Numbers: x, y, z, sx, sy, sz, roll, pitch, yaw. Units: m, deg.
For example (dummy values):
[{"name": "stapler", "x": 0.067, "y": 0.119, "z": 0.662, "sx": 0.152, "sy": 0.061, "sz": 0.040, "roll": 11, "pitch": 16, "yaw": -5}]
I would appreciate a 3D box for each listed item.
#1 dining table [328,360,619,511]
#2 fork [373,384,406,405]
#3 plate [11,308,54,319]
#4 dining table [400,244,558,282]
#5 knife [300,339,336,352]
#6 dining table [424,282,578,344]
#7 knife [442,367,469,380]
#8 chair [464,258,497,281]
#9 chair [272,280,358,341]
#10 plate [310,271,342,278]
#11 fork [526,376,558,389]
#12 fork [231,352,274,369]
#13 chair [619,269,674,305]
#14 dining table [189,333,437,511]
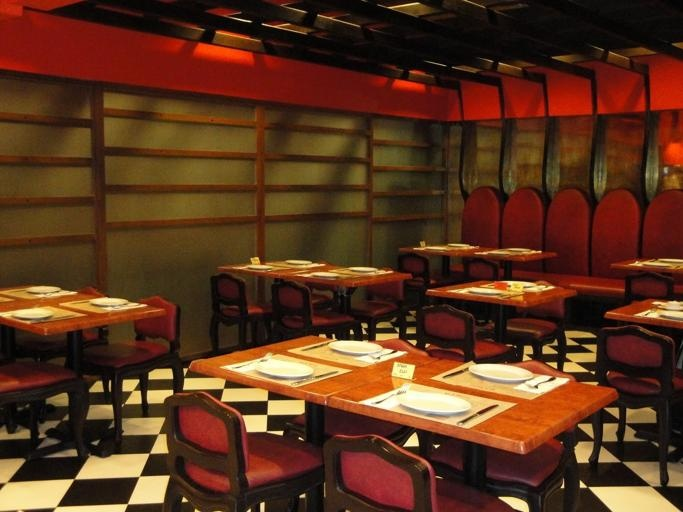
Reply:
[{"name": "dining table", "x": 0.506, "y": 0.627, "z": 2.352, "sx": 1.052, "sy": 0.485, "sz": 0.922, "roll": 4, "pitch": 8, "yaw": 38}, {"name": "fork", "x": 0.231, "y": 0.589, "z": 2.360, "sx": 0.044, "sy": 0.027, "sz": 0.302, "roll": 16, "pitch": 15, "yaw": 37}, {"name": "plate", "x": -2.092, "y": 0.384, "z": 3.627, "sx": 0.209, "sy": 0.039, "sz": 0.325, "roll": -5, "pitch": 9, "yaw": -36}, {"name": "dining table", "x": 1.793, "y": 0.090, "z": 7.245, "sx": 1.781, "sy": 0.313, "sz": 0.769, "roll": 4, "pitch": 10, "yaw": 38}, {"name": "knife", "x": -0.112, "y": 0.520, "z": 3.153, "sx": 0.047, "sy": 0.019, "sz": 0.386, "roll": 36, "pitch": 14, "yaw": 25}, {"name": "dining table", "x": 1.399, "y": 0.617, "z": 4.759, "sx": 0.834, "sy": 0.437, "sz": 0.657, "roll": 0, "pitch": -12, "yaw": -17}, {"name": "knife", "x": 0.564, "y": 0.577, "z": 2.655, "sx": 0.041, "sy": 0.009, "sz": 0.292, "roll": 5, "pitch": 7, "yaw": 39}, {"name": "chair", "x": 1.604, "y": 0.155, "z": 5.966, "sx": 0.290, "sy": 0.320, "sz": 0.300, "roll": 11, "pitch": 16, "yaw": 41}, {"name": "chair", "x": -0.265, "y": 0.540, "z": 5.389, "sx": 0.692, "sy": 0.684, "sz": 0.592, "roll": -9, "pitch": 13, "yaw": -44}, {"name": "plate", "x": -0.164, "y": 0.193, "z": 5.387, "sx": 0.290, "sy": 0.027, "sz": 0.191, "roll": 1, "pitch": 8, "yaw": 5}, {"name": "fork", "x": 0.944, "y": 0.586, "z": 2.527, "sx": 0.051, "sy": 0.032, "sz": 0.279, "roll": 11, "pitch": 4, "yaw": 39}, {"name": "fork", "x": -0.442, "y": 0.542, "z": 2.767, "sx": 0.053, "sy": 0.027, "sz": 0.295, "roll": 13, "pitch": 13, "yaw": 34}, {"name": "chair", "x": 3.149, "y": 0.318, "z": 5.574, "sx": 0.397, "sy": 0.432, "sz": 0.417, "roll": 9, "pitch": 13, "yaw": 42}, {"name": "dining table", "x": -0.160, "y": 0.790, "z": 3.025, "sx": 1.068, "sy": 0.784, "sz": 1.051, "roll": 10, "pitch": 15, "yaw": 39}]
